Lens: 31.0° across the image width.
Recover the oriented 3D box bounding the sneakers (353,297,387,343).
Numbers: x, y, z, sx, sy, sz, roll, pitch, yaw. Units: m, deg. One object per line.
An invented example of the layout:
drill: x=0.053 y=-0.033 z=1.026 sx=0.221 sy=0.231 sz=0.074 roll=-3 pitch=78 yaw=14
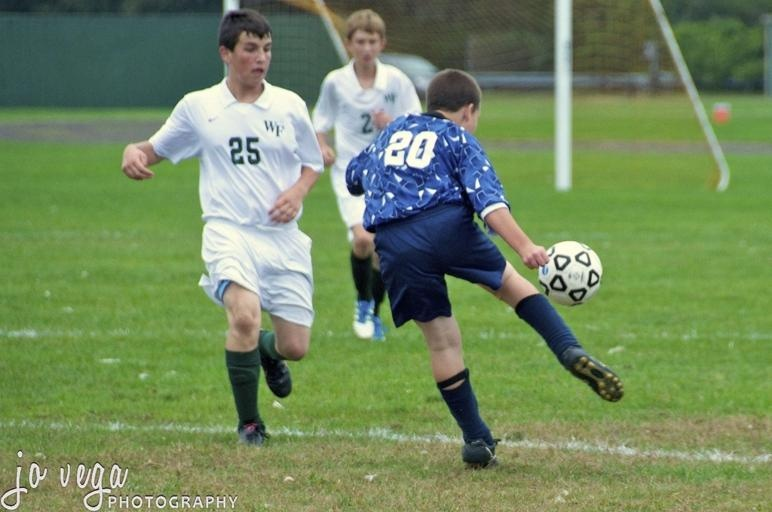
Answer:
sneakers: x=-0.191 y=0.708 z=14.887 sx=0.278 sy=0.440 sz=0.194 roll=-22 pitch=-34 yaw=9

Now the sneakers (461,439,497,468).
sneakers: x=0.837 y=1.808 z=12.638 sx=0.178 sy=0.163 sz=0.365 roll=1 pitch=-1 yaw=15

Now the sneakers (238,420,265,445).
sneakers: x=-1.255 y=1.663 z=13.025 sx=0.160 sy=0.271 sz=0.134 roll=1 pitch=37 yaw=-2

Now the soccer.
soccer: x=1.632 y=0.196 z=13.069 sx=0.521 sy=0.490 sz=0.501 roll=0 pitch=2 yaw=-39

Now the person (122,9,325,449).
person: x=-1.301 y=-0.274 z=13.043 sx=1.435 sy=3.928 sz=0.915 roll=-4 pitch=13 yaw=-5
